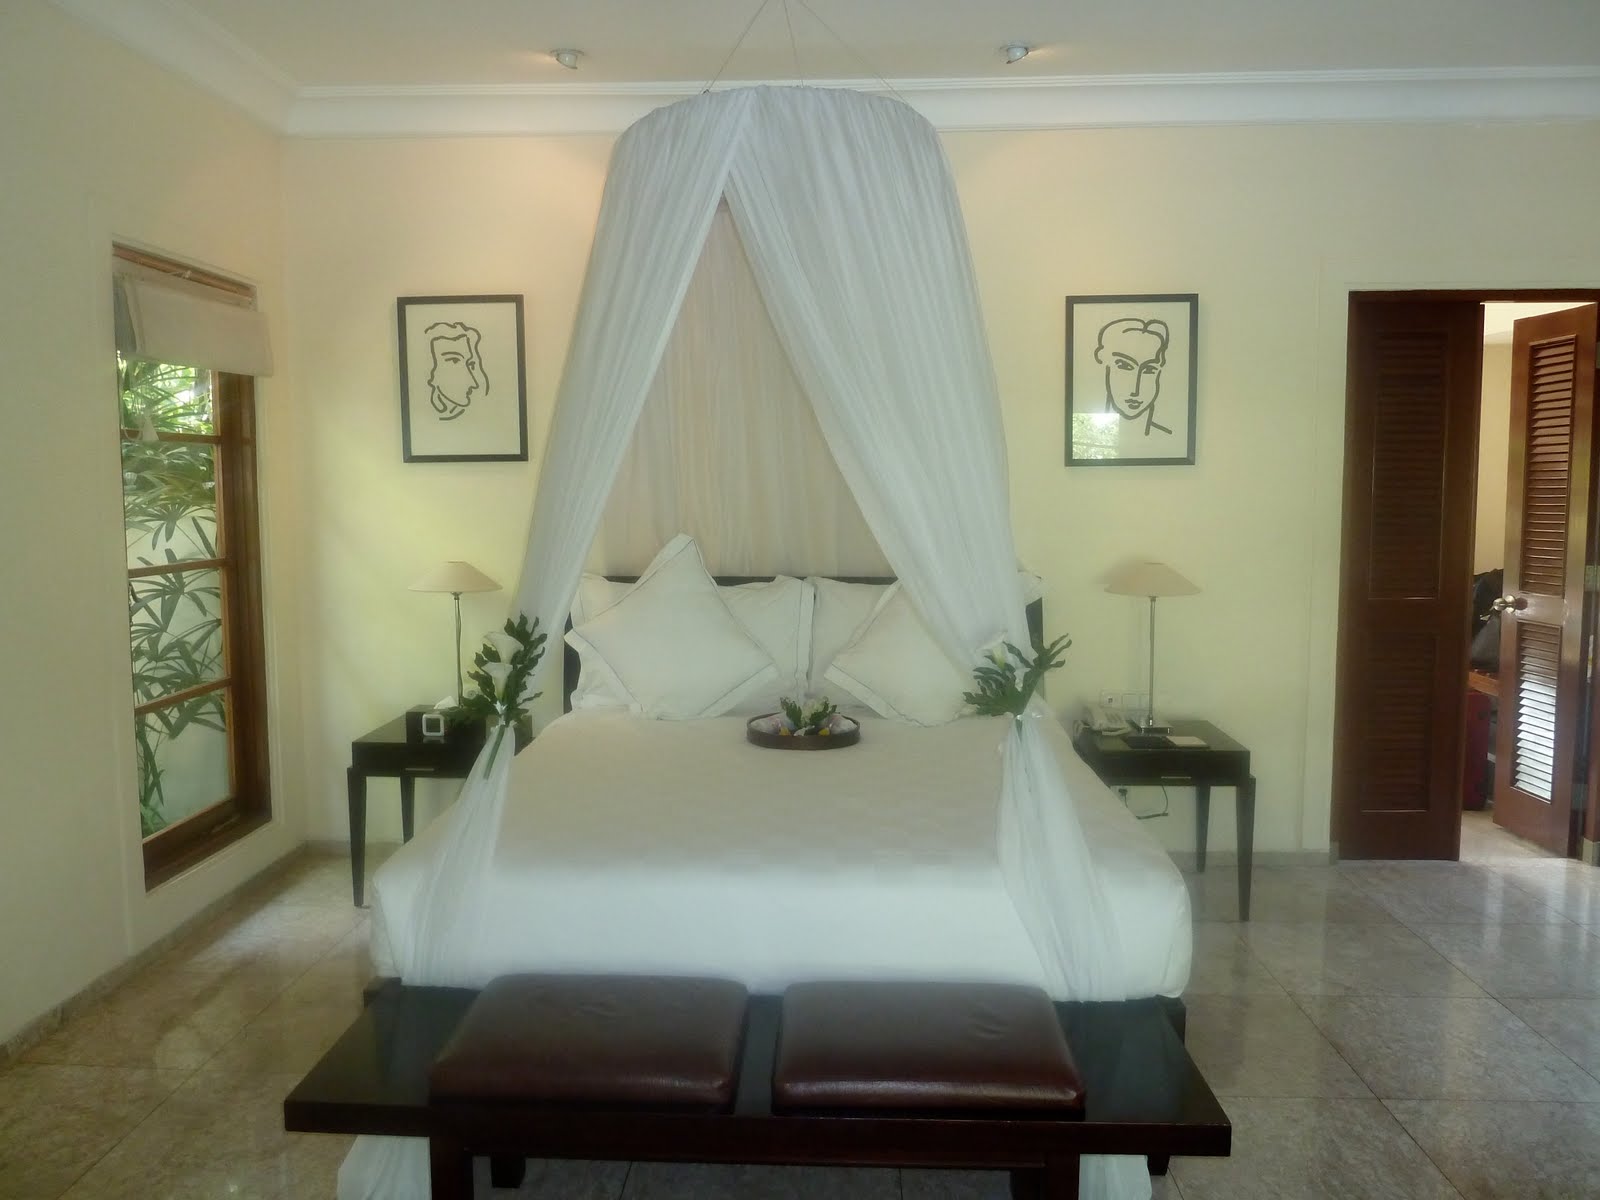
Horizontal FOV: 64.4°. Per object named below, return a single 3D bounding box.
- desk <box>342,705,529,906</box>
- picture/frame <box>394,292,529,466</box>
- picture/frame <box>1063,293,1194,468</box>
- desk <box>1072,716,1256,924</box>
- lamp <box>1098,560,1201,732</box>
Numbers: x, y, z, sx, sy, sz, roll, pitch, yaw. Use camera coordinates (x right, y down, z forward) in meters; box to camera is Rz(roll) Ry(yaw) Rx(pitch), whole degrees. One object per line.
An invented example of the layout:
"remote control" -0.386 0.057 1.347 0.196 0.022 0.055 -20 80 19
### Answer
"desk" -1.405 0.784 5.449 0.892 0.915 0.938 0 6 -1
"picture/frame" -1.440 -0.987 5.485 0.678 0.897 0.056 -1 4 -3
"picture/frame" 1.415 -0.969 5.394 0.662 0.892 0.059 0 3 -2
"desk" 1.610 0.724 5.719 0.699 0.783 1.190 -1 24 13
"lamp" 1.484 0.212 5.335 0.400 0.754 0.414 -1 6 4
